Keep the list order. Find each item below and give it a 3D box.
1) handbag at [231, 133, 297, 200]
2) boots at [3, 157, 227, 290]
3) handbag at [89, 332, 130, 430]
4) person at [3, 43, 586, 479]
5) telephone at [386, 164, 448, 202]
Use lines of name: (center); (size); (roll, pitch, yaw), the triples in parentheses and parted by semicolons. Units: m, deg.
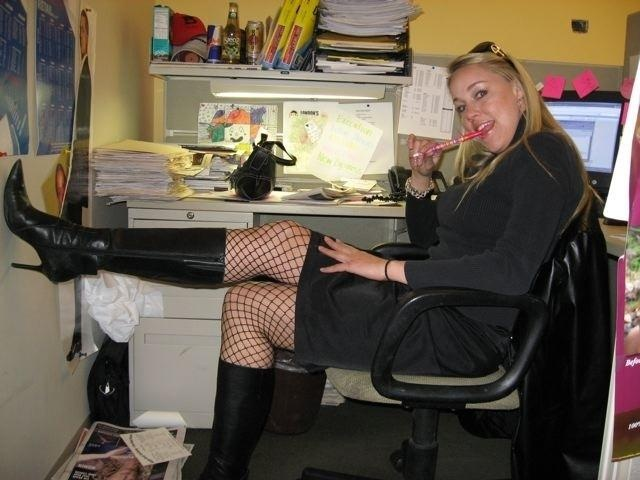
handbag: (-0.231, -0.294, 2.096); (0.297, 0.300, 0.207); (-4, 1, 6)
boots: (-0.475, -0.040, 1.595); (0.914, 0.430, 0.253); (-1, 9, -4)
handbag: (-0.809, 0.555, 1.951); (0.217, 0.300, 0.102); (7, -16, -35)
person: (-0.048, -0.034, 2.068); (1.771, 1.520, 0.957); (3, 1, 5)
telephone: (0.394, -0.259, 2.263); (0.178, 0.181, 0.135); (18, 44, 34)
